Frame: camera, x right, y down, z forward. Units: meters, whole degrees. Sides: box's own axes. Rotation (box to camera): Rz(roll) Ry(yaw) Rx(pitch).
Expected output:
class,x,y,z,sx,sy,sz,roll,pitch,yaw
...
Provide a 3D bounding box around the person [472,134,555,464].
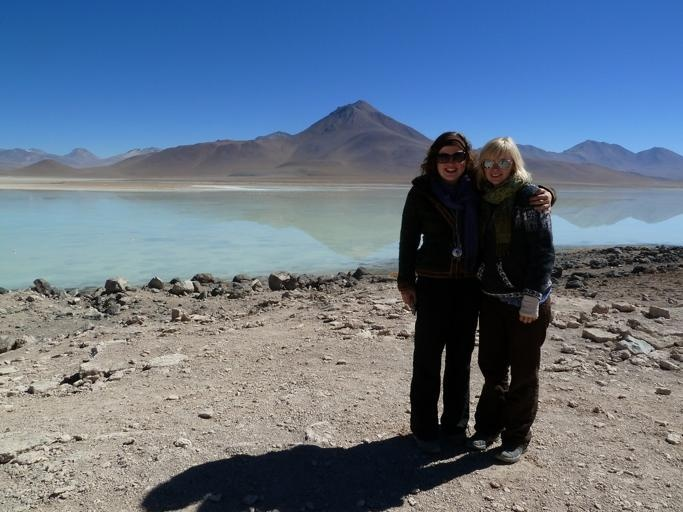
class,x,y,z,sx,sy,sz,roll,pitch,yaw
person,1.292,0.335,3.876,0.590,2.450,0.600,3,15,33

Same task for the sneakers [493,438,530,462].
class,x,y,z,sx,sy,sz,roll,pitch,yaw
sneakers,1.330,1.517,3.939,0.117,0.091,0.326,-12,-17,43

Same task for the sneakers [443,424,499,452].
class,x,y,z,sx,sy,sz,roll,pitch,yaw
sneakers,1.018,1.463,4.112,0.515,0.175,0.142,-3,38,6

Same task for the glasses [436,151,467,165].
class,x,y,z,sx,sy,sz,roll,pitch,yaw
glasses,0.866,-0.760,3.898,0.261,0.085,0.110,-4,10,-7

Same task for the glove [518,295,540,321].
class,x,y,z,sx,sy,sz,roll,pitch,yaw
glove,1.414,0.385,3.749,0.174,0.228,0.105,-5,12,-5

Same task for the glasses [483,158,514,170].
class,x,y,z,sx,sy,sz,roll,pitch,yaw
glasses,1.171,-0.688,3.804,0.184,0.075,0.045,-1,12,13
